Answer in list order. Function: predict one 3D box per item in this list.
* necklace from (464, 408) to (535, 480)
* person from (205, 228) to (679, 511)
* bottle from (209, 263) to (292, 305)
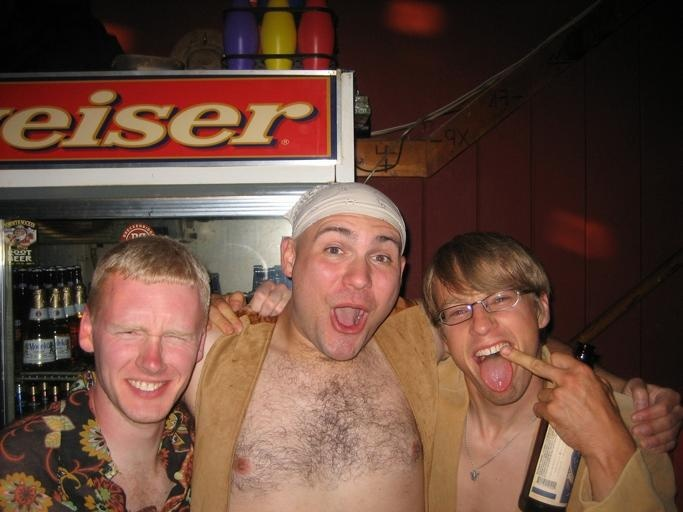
[{"bbox_3d":[0.839,1.019,3.510,0.167,0.562,0.128,39,1,28],"label":"necklace"},{"bbox_3d":[0.459,0.646,3.509,1.715,1.478,0.463,2,-2,3],"label":"person"},{"bbox_3d":[-0.562,0.143,4.282,0.467,0.325,0.245,0,7,6],"label":"bottle"}]
